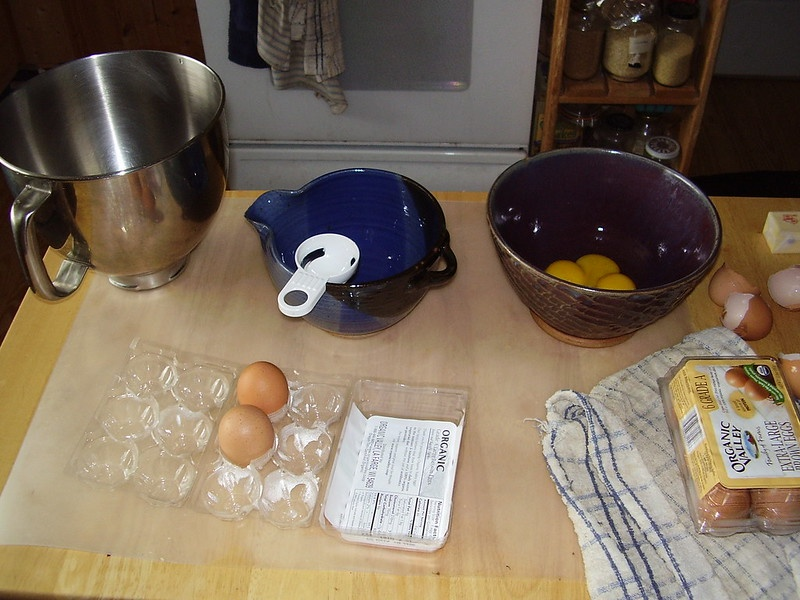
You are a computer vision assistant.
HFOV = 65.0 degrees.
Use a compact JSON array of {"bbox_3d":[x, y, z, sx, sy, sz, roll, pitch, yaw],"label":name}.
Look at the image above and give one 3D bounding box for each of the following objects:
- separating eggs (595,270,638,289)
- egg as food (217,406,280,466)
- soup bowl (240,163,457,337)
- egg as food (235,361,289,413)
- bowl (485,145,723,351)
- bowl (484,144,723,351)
[{"bbox_3d":[0.322,-0.023,0.914,0.038,0.022,0.042,1,29,1],"label":"separating eggs"},{"bbox_3d":[-0.195,0.170,0.850,0.066,0.085,0.076,6,92,3],"label":"egg as food"},{"bbox_3d":[-0.079,-0.064,0.944,0.311,0.149,0.266,24,54,20],"label":"soup bowl"},{"bbox_3d":[-0.182,0.117,0.892,0.060,0.080,0.067,1,51,14],"label":"egg as food"},{"bbox_3d":[0.278,-0.046,0.911,0.269,0.147,0.299,10,36,10],"label":"bowl"},{"bbox_3d":[0.299,-0.089,0.949,0.291,0.156,0.325,2,51,-4],"label":"bowl"}]
